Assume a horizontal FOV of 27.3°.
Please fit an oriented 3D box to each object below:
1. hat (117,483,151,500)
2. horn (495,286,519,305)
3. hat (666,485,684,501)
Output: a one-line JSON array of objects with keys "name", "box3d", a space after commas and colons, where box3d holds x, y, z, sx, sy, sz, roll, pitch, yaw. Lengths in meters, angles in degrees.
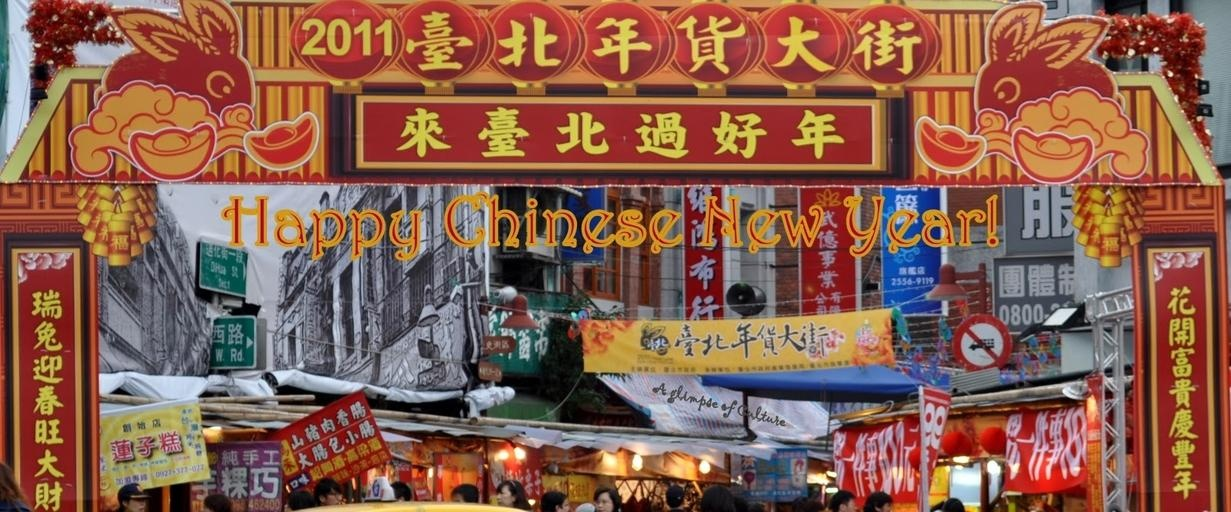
[{"name": "hat", "box3d": [-9.371, 4.494, 49.185, 0.503, 0.312, 0.661, 1, -7, -10]}, {"name": "horn", "box3d": [-2.677, 0.950, 62.995, 0.695, 0.372, 0.520, 8, 4, -3]}, {"name": "hat", "box3d": [1.096, 4.508, 49.077, 0.288, 0.305, 0.339, 0, -7, -4]}]
